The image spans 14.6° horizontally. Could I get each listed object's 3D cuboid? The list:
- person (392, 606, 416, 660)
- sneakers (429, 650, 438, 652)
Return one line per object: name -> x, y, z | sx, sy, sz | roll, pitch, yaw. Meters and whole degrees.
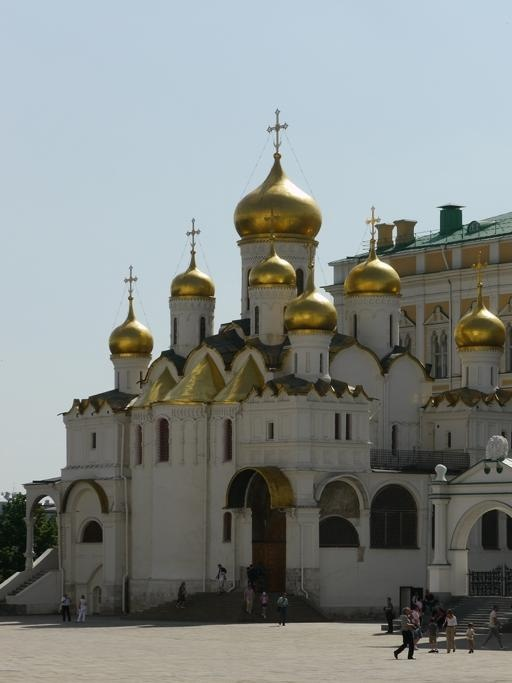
person -> 3.433, 6.668, 45.676 | 0.489, 1.173, 1.659 | -1, -8, 4
sneakers -> 4.221, 7.331, 47.348 | 0.209, 0.080, 0.676 | -2, -9, 6
